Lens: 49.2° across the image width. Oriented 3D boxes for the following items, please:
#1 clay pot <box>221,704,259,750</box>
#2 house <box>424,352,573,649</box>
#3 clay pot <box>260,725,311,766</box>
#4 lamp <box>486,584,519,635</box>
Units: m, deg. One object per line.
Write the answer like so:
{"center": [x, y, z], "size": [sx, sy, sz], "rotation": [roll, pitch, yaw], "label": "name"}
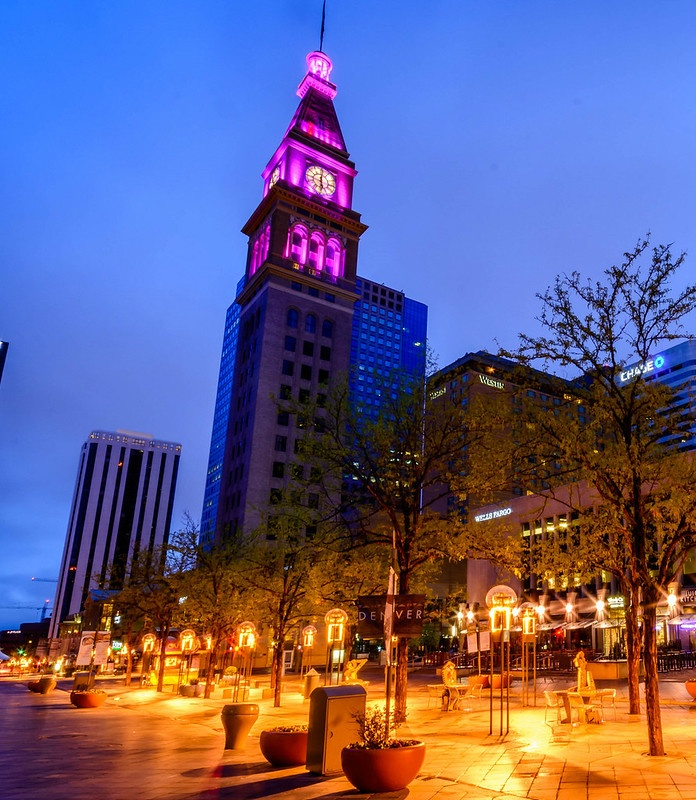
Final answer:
{"center": [-2.477, 7.333, 17.162], "size": [1.007, 1.088, 1.085], "rotation": [0, -26, 0], "label": "clay pot"}
{"center": [4.759, 2.613, 24.112], "size": [4.841, 7.142, 2.851], "rotation": [10, -15, -24], "label": "house"}
{"center": [-1.278, 6.849, 15.074], "size": [0.827, 0.474, 0.785], "rotation": [2, -23, 1], "label": "clay pot"}
{"center": [3.664, 5.058, 18.236], "size": [0.698, 1.427, 0.713], "rotation": [-2, -9, 28], "label": "lamp"}
